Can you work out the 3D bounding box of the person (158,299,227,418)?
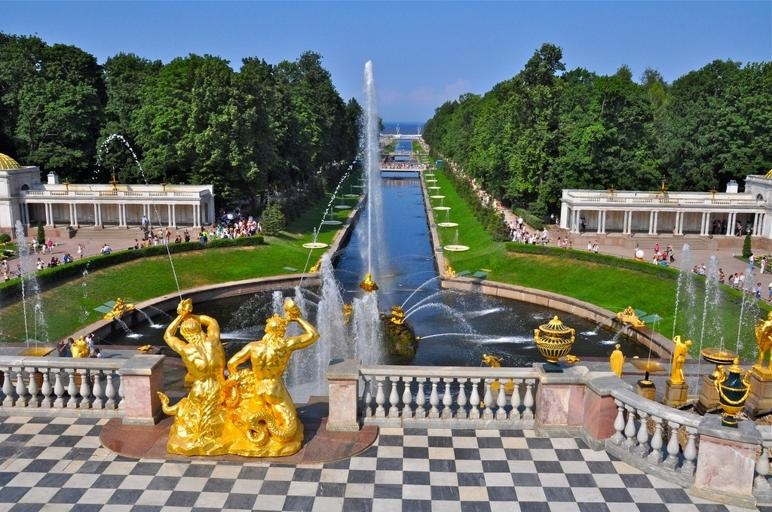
[{"bbox_3d":[-4.555,2.277,15.310,1.453,2.304,0.864,11,17,35],"label":"person"}]
